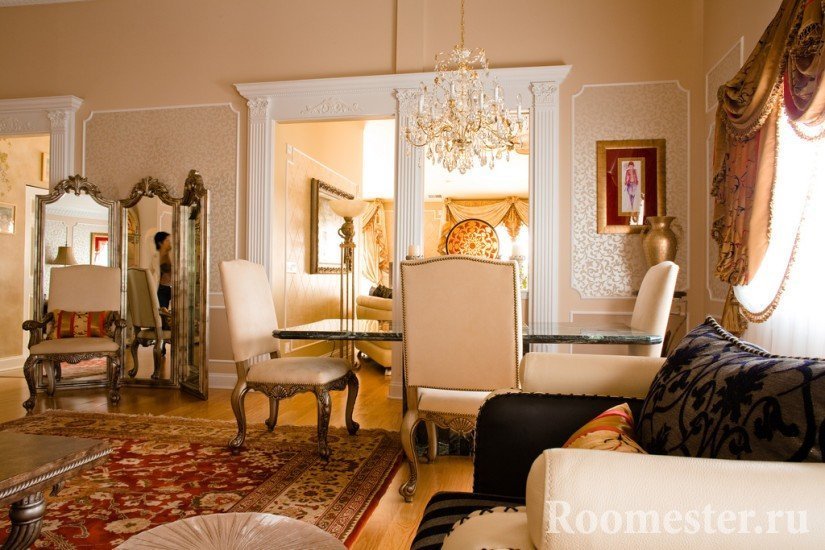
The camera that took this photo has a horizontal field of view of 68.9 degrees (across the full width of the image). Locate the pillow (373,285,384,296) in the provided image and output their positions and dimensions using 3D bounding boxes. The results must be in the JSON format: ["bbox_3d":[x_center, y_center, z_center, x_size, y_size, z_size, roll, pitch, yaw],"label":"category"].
[{"bbox_3d":[-0.470,0.208,8.410,0.194,0.118,0.325,1,-5,-9],"label":"pillow"}]

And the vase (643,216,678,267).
[{"bbox_3d":[2.174,-0.307,5.374,0.267,0.440,0.334,-4,10,-24],"label":"vase"}]

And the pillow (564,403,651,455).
[{"bbox_3d":[0.804,0.660,2.533,0.177,0.084,0.264,-15,-2,32],"label":"pillow"}]

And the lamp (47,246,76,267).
[{"bbox_3d":[-3.549,-0.185,6.142,0.215,0.318,0.199,2,-6,-4],"label":"lamp"}]

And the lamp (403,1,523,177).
[{"bbox_3d":[0.433,-1.709,5.146,0.957,1.663,1.526,0,9,-1],"label":"lamp"}]

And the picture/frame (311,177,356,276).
[{"bbox_3d":[-1.099,-0.564,7.803,0.084,1.287,1.855,4,9,-19],"label":"picture/frame"}]

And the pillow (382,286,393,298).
[{"bbox_3d":[-0.323,0.228,7.947,0.101,0.117,0.128,3,12,3],"label":"pillow"}]
